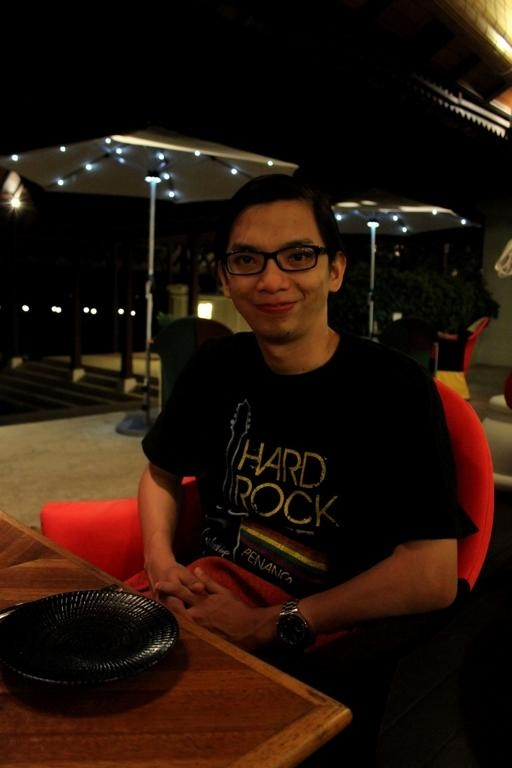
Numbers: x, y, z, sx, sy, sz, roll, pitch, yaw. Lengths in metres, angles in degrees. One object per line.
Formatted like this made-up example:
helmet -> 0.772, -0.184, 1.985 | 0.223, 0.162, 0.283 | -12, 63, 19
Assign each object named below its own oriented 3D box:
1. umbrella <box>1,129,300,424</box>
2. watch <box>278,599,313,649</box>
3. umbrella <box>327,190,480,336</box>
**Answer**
umbrella -> -1.130, -0.841, 5.776 | 2.518, 2.138, 2.346 | -1, 9, -18
watch -> 0.073, 0.477, 1.189 | 0.057, 0.088, 0.080 | -8, -17, 16
umbrella -> 1.474, -1.453, 7.575 | 2.026, 1.799, 1.894 | 0, 0, 0
